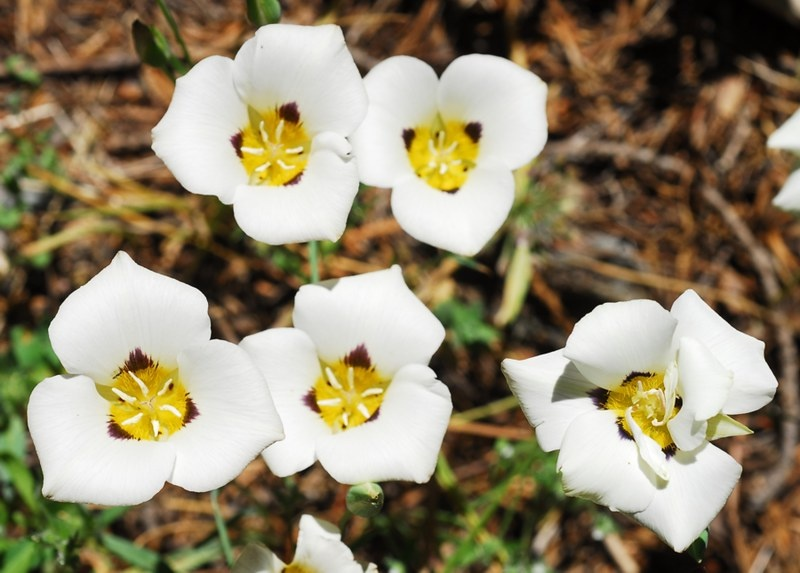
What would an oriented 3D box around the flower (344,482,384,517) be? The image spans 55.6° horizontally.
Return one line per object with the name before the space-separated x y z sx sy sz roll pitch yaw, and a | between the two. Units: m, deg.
flower | -0.179 1.031 3.624 0.154 0.319 0.137 -4 68 -12
